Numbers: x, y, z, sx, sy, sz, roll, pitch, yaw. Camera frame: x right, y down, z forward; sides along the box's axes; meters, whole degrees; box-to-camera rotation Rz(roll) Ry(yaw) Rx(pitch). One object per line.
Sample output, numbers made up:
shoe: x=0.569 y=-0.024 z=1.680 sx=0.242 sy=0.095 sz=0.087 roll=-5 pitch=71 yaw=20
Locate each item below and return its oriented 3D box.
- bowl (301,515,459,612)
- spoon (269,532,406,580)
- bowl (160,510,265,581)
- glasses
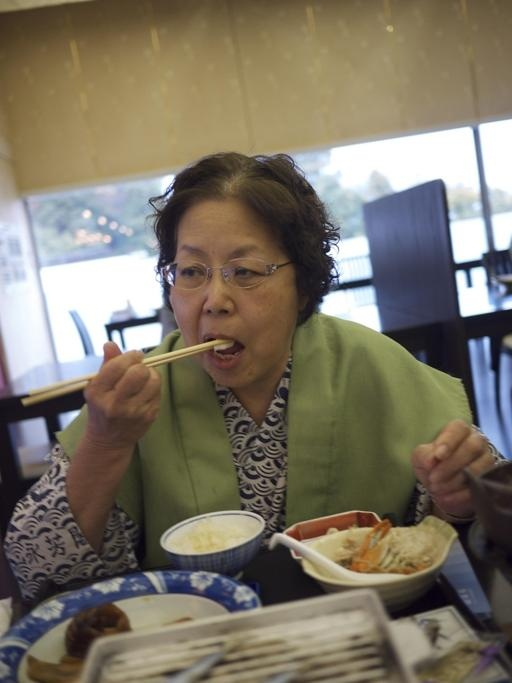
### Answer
bowl: x=0.153 y=0.266 z=0.808 sx=0.205 sy=0.076 sz=0.160 roll=-1 pitch=6 yaw=-7
spoon: x=0.108 y=0.302 z=0.866 sx=0.258 sy=0.046 sz=0.043 roll=19 pitch=-45 yaw=-32
bowl: x=-0.057 y=0.293 z=0.865 sx=0.152 sy=0.057 sz=0.143 roll=-7 pitch=3 yaw=0
glasses: x=-0.057 y=-0.122 z=1.109 sx=0.245 sy=0.055 sz=0.148 roll=-3 pitch=6 yaw=-33
